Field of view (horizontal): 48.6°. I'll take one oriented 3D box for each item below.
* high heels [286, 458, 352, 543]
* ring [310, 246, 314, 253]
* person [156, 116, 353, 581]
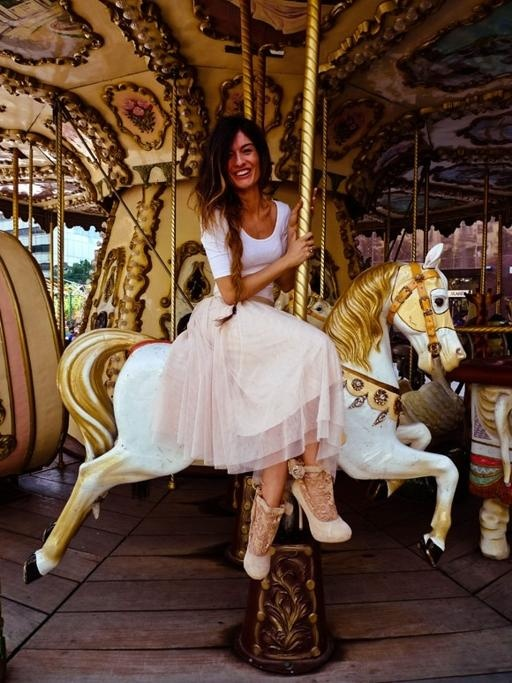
[{"bbox_3d":[0.196,0.508,1.806,0.200,0.275,0.154,1,3,8],"label":"high heels"},{"bbox_3d":[0.182,-0.302,1.856,0.016,0.018,0.008,-3,-2,-9],"label":"ring"},{"bbox_3d":[-0.003,0.030,1.931,0.361,1.590,0.726,-2,4,-42],"label":"person"}]
